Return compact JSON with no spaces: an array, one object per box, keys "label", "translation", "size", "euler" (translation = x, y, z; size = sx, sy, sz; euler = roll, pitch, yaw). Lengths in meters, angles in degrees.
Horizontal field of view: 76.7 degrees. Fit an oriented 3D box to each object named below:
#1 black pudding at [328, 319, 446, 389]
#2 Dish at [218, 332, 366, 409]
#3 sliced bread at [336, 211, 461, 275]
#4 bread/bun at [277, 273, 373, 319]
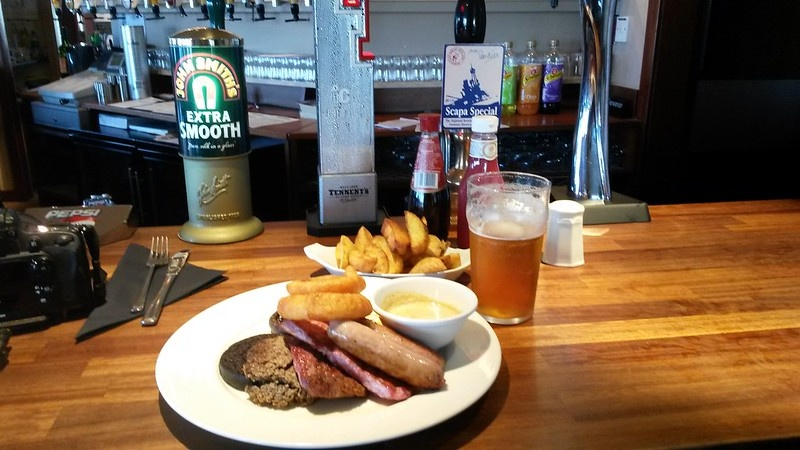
[{"label":"black pudding","translation":[-0.036,0.331,1.268],"size":[0.305,0.082,0.134],"euler":[24,42,1]},{"label":"Dish","translation":[-0.287,0.361,1.219],"size":[0.259,0.035,0.184],"euler":[17,22,14]},{"label":"sliced bread","translation":[-0.007,0.022,1.485],"size":[0.236,0.075,0.246],"euler":[5,9,28]},{"label":"bread/bun","translation":[-0.180,0.177,1.236],"size":[0.163,0.050,0.133],"euler":[0,9,-9]}]
